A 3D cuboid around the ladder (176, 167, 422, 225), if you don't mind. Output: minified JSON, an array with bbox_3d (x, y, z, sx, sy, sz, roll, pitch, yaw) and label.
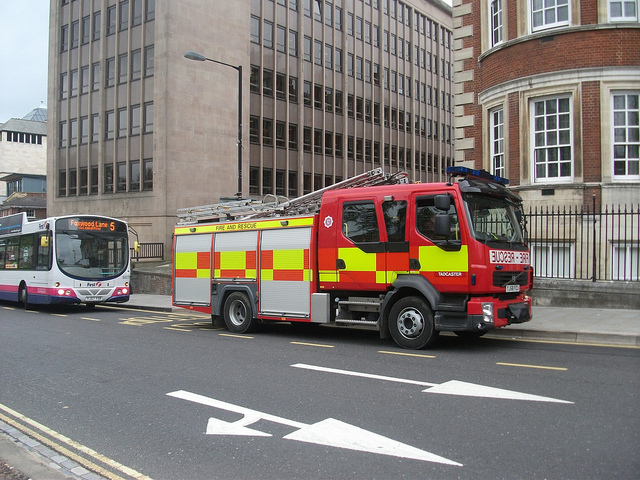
[{"bbox_3d":[-0.947,-0.999,13.980,6.511,1.074,0.911,0,2,37],"label":"ladder"}]

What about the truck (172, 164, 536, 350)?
[{"bbox_3d":[0.591,0.328,14.464,8.946,4.401,3.639,-5,-4,36],"label":"truck"}]
